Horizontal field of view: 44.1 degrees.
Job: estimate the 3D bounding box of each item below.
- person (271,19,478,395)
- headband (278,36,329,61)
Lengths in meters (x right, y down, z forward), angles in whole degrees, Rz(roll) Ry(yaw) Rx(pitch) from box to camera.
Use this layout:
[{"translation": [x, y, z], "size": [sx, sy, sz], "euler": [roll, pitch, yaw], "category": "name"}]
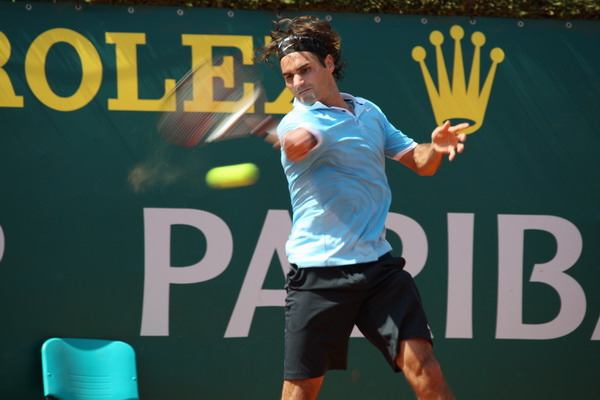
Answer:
[{"translation": [0.424, 0.051, 5.568], "size": [1.285, 2.701, 1.024], "euler": [0, 13, -2], "category": "person"}, {"translation": [0.022, -1.153, 5.619], "size": [0.367, 0.160, 0.107], "euler": [0, 14, 0], "category": "headband"}]
